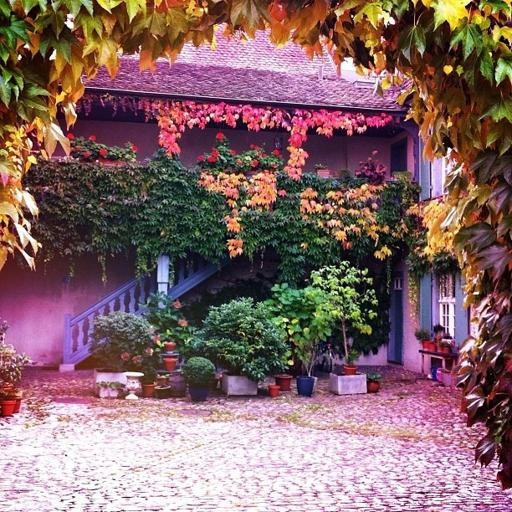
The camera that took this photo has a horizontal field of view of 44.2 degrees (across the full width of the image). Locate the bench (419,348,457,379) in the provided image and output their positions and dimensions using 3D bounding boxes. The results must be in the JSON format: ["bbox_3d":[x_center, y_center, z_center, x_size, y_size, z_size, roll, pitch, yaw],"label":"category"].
[{"bbox_3d":[3.247,1.950,11.421,0.406,0.525,1.389,1,-3,-4],"label":"bench"}]
